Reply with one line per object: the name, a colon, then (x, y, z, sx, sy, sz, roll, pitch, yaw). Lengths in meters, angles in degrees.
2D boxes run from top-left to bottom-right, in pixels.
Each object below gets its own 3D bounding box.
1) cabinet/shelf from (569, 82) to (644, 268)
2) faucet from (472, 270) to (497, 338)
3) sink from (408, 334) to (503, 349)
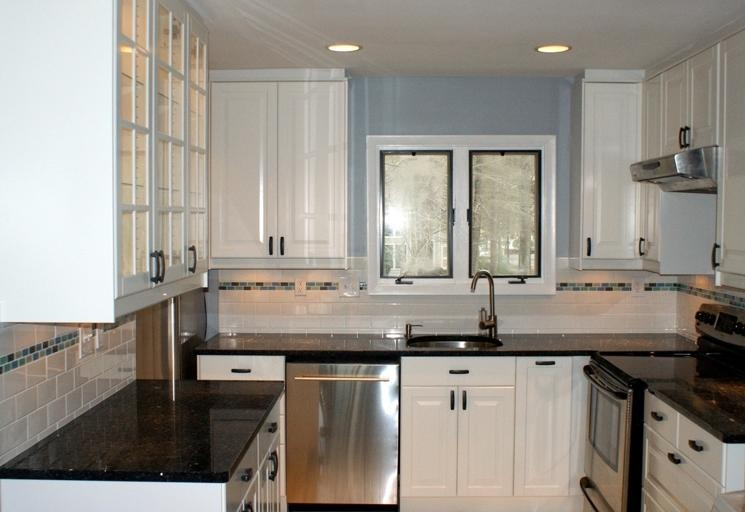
cabinet/shelf: (1.651, -0.548, 4.162, 0.464, 1.276, 0.262, 2, 12, 2)
faucet: (0.797, 0.331, 4.316, 0.214, 0.458, 0.355, 4, 12, 10)
sink: (0.529, 0.601, 4.262, 0.622, 0.106, 0.156, 1, 12, -5)
